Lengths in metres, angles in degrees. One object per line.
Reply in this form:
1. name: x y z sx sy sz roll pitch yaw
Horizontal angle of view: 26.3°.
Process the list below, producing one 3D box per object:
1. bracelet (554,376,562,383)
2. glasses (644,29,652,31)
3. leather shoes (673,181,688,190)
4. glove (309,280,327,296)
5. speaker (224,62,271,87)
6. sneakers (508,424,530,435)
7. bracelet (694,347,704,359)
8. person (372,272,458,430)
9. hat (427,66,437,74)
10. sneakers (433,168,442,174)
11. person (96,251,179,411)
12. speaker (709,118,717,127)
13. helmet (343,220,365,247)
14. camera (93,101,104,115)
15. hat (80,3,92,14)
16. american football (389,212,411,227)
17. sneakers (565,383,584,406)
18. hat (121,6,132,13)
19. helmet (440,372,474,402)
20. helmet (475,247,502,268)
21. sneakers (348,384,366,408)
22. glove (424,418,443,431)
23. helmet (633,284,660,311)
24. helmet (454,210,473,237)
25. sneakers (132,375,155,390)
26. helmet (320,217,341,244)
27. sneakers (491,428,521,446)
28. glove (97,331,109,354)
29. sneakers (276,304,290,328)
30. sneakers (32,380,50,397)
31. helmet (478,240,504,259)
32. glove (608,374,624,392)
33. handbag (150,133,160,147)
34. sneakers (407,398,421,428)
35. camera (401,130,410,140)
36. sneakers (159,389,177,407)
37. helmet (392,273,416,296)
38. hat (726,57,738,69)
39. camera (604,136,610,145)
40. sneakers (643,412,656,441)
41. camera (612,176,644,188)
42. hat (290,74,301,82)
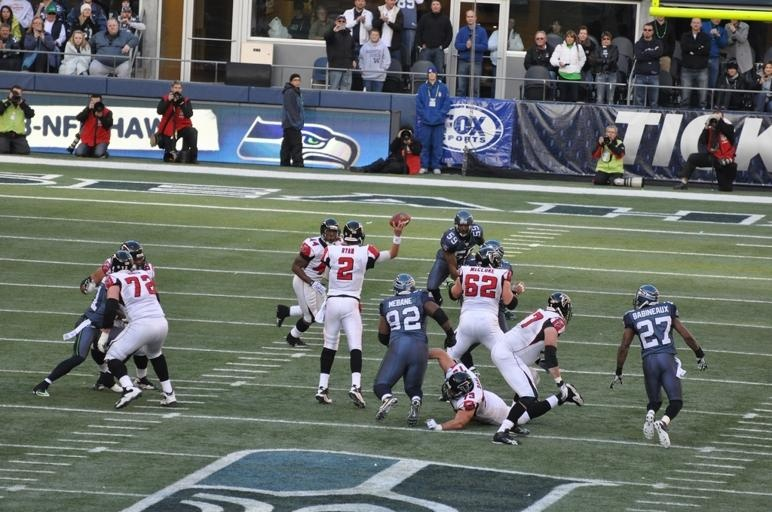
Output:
1. bracelet: 2.857 2.044 27.498 0.122 0.080 0.111 -2 -8 -4
2. glasses: 6.940 -6.013 43.859 0.171 0.092 0.115 7 14 22
3. leather shoes: 7.765 -1.894 43.581 0.320 0.204 0.423 4 12 10
4. glove: -1.186 0.571 29.593 0.274 0.092 0.265 28 -4 35
5. speaker: -3.815 -5.063 45.873 1.475 0.559 0.679 2 10 0
6. sneakers: 2.157 2.883 27.430 0.410 0.142 0.139 3 9 -10
7. bracelet: 5.278 1.630 27.856 0.213 0.167 0.197 1 11 16
8. person: 0.353 1.599 27.754 1.099 2.396 1.207 6 14 14
9. hat: 1.226 -4.988 44.166 0.214 0.181 0.254 -1 -19 0
10. sneakers: 1.373 -2.326 44.949 0.185 0.113 0.314 -2 -2 -1
11. person: -4.234 1.255 27.843 1.226 2.638 0.817 0 14 -8
12. speaker: 8.289 -3.410 41.971 0.233 0.219 0.093 8 15 24
13. helmet: -0.581 -0.417 28.605 0.382 0.372 0.424 7 17 6
14. camera: -7.758 -4.005 44.489 0.305 0.250 0.314 14 1 -22
15. hat: -8.471 -6.987 46.650 0.308 0.324 0.334 -1 22 -13
16. american football: 0.283 -0.662 29.240 0.246 0.182 0.347 -12 5 41
17. sneakers: 3.199 2.368 28.174 0.213 0.451 0.168 -37 4 38
18. hat: -7.518 -7.161 47.781 0.336 0.146 0.418 -1 4 -8
19. helmet: 1.119 2.170 27.487 0.574 0.586 0.343 13 17 39
20. helmet: 1.731 0.004 28.118 0.440 0.303 0.323 -7 11 -3
21. sneakers: -0.501 2.409 28.170 0.212 0.210 0.504 3 -25 30
22. glove: 0.806 2.807 27.621 0.265 0.160 0.178 2 13 -1
23. helmet: 4.403 0.698 27.980 0.493 0.381 0.396 6 -4 12
24. helmet: 1.453 -0.652 31.191 0.422 0.424 0.483 1 22 1
25. sneakers: -4.193 2.198 28.662 0.454 0.163 0.163 4 9 7
26. helmet: -0.910 -0.449 28.888 0.356 0.334 0.441 2 2 -18
27. sneakers: 1.943 2.990 27.152 0.560 0.200 0.182 2 4 1
28. glove: -4.726 1.435 27.741 0.259 0.321 0.144 7 11 -19
29. sneakers: -1.968 1.162 31.371 0.252 0.461 0.173 5 24 -9
30. sneakers: -5.843 2.260 28.287 0.374 0.125 0.224 -11 33 -11
31. helmet: 1.853 -0.136 28.393 0.475 0.317 0.323 -9 38 -2
32. glove: 4.020 2.235 28.998 0.327 0.245 0.767 14 7 7
33. handbag: -6.276 -3.162 44.881 0.227 0.296 0.371 -2 19 -18
34. sneakers: 0.403 2.584 27.536 0.218 0.484 0.256 12 5 25
35. camera: 0.520 -3.233 43.822 0.299 0.305 0.523 2 12 0
36. sneakers: -3.737 2.412 28.196 0.163 0.167 0.407 -15 9 -19
37. helmet: 0.284 0.471 28.090 0.412 0.310 0.338 10 8 39
38. hat: 9.152 -5.130 43.778 0.306 0.333 0.342 -2 23 10
39. camera: 5.751 -3.032 42.899 0.181 0.197 0.150 4 13 7
40. sneakers: 4.309 2.790 27.175 0.219 0.444 0.218 1 5 24
41. camera: 6.411 -1.976 43.788 0.724 0.229 0.317 0 3 14
42. hat: -2.404 -4.772 43.999 0.265 0.229 0.317 4 8 -19
